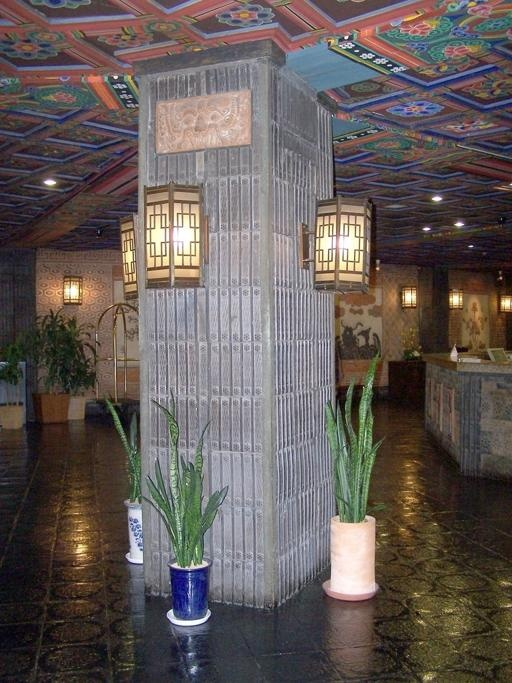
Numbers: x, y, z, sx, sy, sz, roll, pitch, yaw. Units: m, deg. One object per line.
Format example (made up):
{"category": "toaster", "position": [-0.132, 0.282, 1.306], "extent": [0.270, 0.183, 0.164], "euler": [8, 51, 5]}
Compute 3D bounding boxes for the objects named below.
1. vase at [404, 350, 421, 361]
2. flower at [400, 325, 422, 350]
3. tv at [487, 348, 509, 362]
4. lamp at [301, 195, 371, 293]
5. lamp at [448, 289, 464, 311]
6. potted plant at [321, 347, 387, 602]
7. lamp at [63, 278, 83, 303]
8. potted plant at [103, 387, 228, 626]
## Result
{"category": "vase", "position": [4.017, 0.369, 13.301], "extent": [0.268, 0.186, 0.272], "euler": [4, 5, 30]}
{"category": "flower", "position": [4.079, -0.064, 13.706], "extent": [0.497, 0.801, 0.876], "euler": [-1, -1, 18]}
{"category": "tv", "position": [3.043, 0.173, 6.425], "extent": [0.263, 0.142, 1.576], "euler": [-1, -1, 23]}
{"category": "lamp", "position": [0.410, -0.551, 2.657], "extent": [0.295, 0.507, 0.374], "euler": [-12, 43, -6]}
{"category": "lamp", "position": [5.623, -1.154, 14.558], "extent": [0.544, 0.525, 0.138], "euler": [0, -2, -33]}
{"category": "potted plant", "position": [0.463, 0.650, 2.534], "extent": [0.274, 1.127, 0.319], "euler": [-1, -1, 17]}
{"category": "lamp", "position": [-3.783, -1.023, 10.619], "extent": [0.354, 0.576, 0.200], "euler": [0, -1, -23]}
{"category": "potted plant", "position": [-0.421, 0.741, 2.492], "extent": [0.351, 0.928, 0.920], "euler": [0, -1, -34]}
